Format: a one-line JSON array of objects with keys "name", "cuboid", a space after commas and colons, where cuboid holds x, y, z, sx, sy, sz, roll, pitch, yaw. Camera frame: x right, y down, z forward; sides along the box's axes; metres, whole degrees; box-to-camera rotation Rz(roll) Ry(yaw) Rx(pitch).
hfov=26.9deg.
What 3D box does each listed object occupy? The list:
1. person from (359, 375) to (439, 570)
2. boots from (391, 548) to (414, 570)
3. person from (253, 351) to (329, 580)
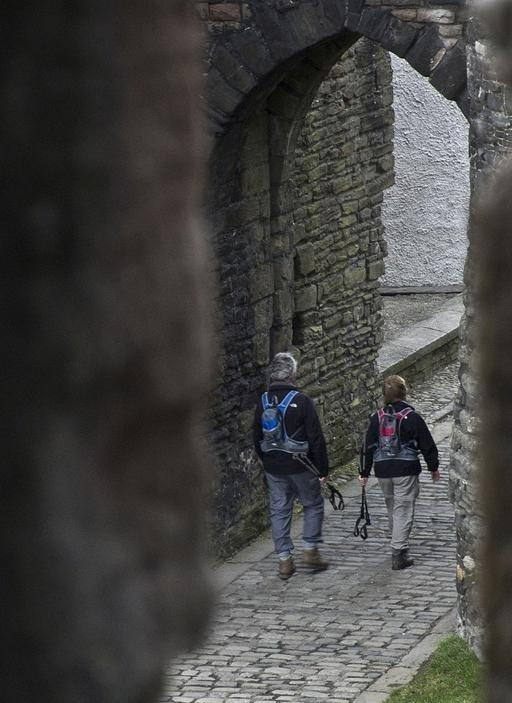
[{"name": "person", "cuboid": [0.909, 0.757, 6.608, 0.431, 1.219, 0.516, -10, 9, -20]}, {"name": "boots", "cuboid": [0.924, 1.291, 6.733, 0.076, 0.127, 0.196, 6, 22, 34]}, {"name": "person", "cuboid": [0.223, 0.708, 6.702, 0.430, 1.401, 0.335, -7, 9, -2]}]
